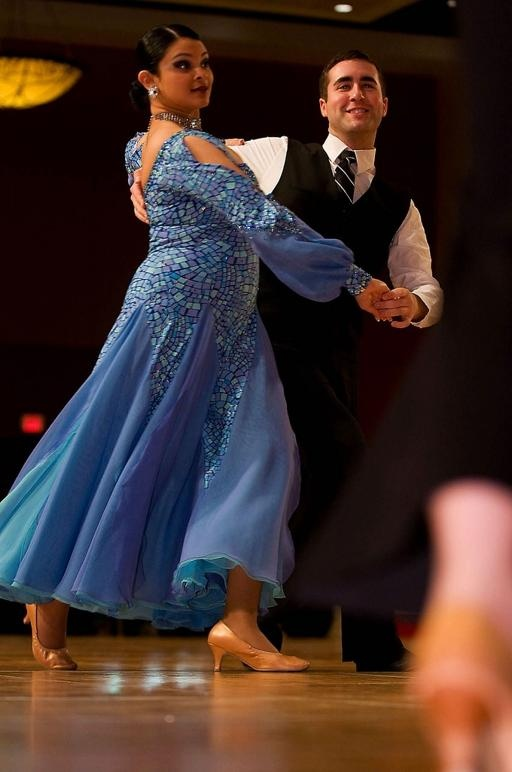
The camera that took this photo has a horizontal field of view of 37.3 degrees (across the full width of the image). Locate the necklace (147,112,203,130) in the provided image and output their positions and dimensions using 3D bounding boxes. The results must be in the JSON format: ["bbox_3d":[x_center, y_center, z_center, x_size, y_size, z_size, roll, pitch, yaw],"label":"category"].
[{"bbox_3d":[-0.205,-0.661,1.899,0.109,0.026,0.076,9,6,13],"label":"necklace"}]

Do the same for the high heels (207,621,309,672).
[{"bbox_3d":[0.039,0.595,1.745,0.299,0.090,0.125,0,77,5],"label":"high heels"}]
